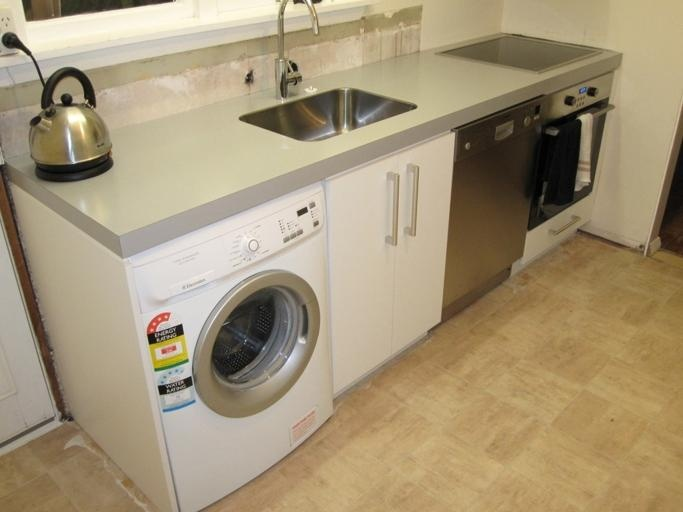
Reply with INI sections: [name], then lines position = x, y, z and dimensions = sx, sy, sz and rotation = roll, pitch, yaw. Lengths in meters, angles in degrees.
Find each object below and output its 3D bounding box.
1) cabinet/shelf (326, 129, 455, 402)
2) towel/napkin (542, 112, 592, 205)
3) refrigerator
[cabinet/shelf]
position = 0.106, 0.055, 2.381
dimensions = 0.481, 1.181, 0.547
rotation = -16, 34, -30
[towel/napkin]
position = 1.155, -0.525, 2.686
dimensions = 0.116, 0.362, 0.342
rotation = 18, 43, 37
[refrigerator]
position = 0.566, -0.317, 2.744
dimensions = 0.618, 1.016, 0.626
rotation = -26, 38, -37
